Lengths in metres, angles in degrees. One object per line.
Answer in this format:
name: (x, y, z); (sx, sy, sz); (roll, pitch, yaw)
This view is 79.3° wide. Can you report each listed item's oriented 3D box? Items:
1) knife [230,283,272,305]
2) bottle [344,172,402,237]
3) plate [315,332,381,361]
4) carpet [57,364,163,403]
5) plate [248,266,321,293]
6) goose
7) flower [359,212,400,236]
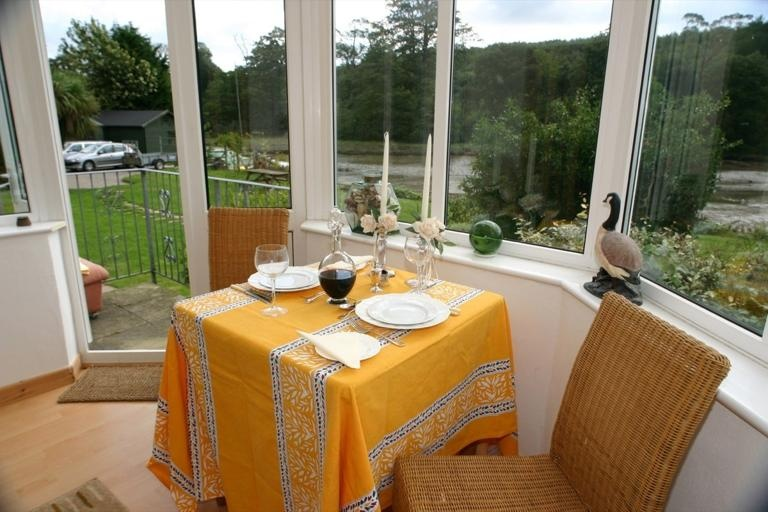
knife: (-0.648, 0.159, 2.251); (0.085, 0.025, 0.282); (-20, 25, -41)
bottle: (-0.098, -0.360, 3.102); (0.356, 0.463, 0.358); (1, 7, 0)
plate: (-0.094, 0.354, 1.859); (0.132, 0.014, 0.132); (12, 24, 26)
carpet: (-1.807, 0.865, 3.165); (0.621, 0.088, 0.378); (-1, 15, -5)
plate: (-0.459, 0.122, 2.319); (0.192, 0.021, 0.195); (12, 18, 32)
goose: (1.088, -0.094, 2.187); (0.152, 0.374, 0.210); (-3, 17, -12)
flower: (-0.035, -0.148, 2.252); (0.153, 0.107, 0.146); (7, 39, -13)
